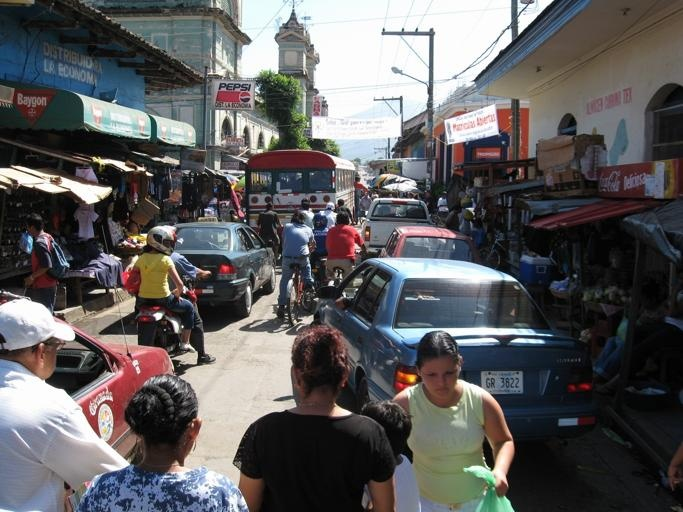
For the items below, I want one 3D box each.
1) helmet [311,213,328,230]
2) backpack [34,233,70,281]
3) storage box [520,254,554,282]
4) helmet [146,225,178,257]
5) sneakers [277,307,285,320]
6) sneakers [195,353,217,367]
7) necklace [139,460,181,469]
[{"bbox_3d":[-0.449,-0.843,13.521,0.310,0.435,0.401,5,-2,-20],"label":"helmet"},{"bbox_3d":[-4.551,0.053,9.072,0.405,0.779,0.462,-11,17,-22],"label":"backpack"},{"bbox_3d":[3.314,0.206,9.891,0.415,0.412,0.433,0,0,31],"label":"storage box"},{"bbox_3d":[-2.413,-0.201,7.775,0.395,0.399,0.319,1,6,-7],"label":"helmet"},{"bbox_3d":[-1.082,1.040,10.476,0.137,0.214,0.207,2,-4,-4],"label":"sneakers"},{"bbox_3d":[-1.908,1.454,8.167,0.255,0.176,0.126,-7,9,-22],"label":"sneakers"},{"bbox_3d":[-0.784,0.911,2.526,0.080,0.023,0.080,3,-6,0],"label":"necklace"}]
